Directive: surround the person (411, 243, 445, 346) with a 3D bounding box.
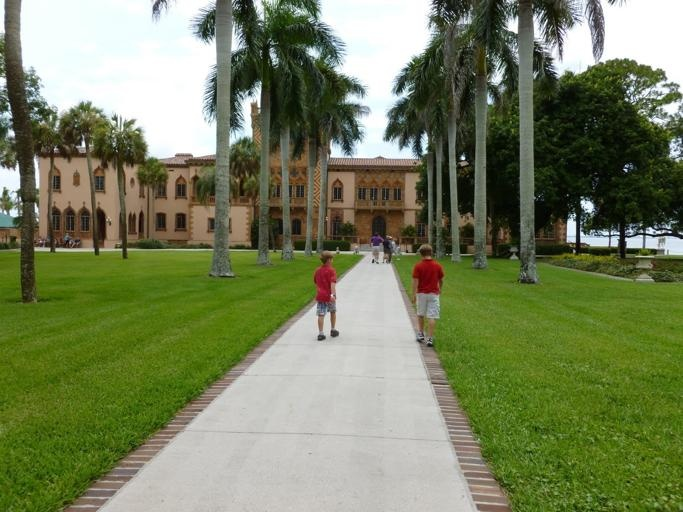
[{"bbox_3d":[1.593,0.667,11.119,0.512,1.810,1.215,1,8,9],"label":"person"}]

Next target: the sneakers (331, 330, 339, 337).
[{"bbox_3d":[-0.121,1.433,11.260,0.165,0.191,0.101,0,-4,-1],"label":"sneakers"}]

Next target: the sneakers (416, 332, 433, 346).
[{"bbox_3d":[1.503,1.486,10.853,0.128,0.184,0.390,2,3,0],"label":"sneakers"}]

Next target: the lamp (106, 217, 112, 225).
[{"bbox_3d":[-22.247,-3.345,57.948,0.428,0.798,0.346,-2,8,-12],"label":"lamp"}]
